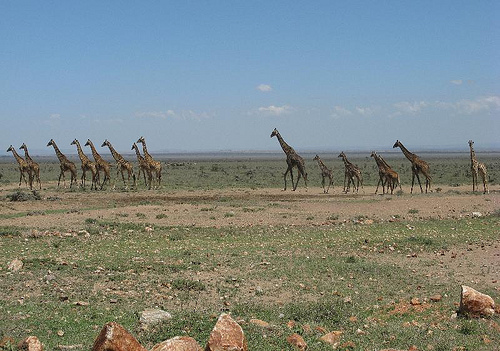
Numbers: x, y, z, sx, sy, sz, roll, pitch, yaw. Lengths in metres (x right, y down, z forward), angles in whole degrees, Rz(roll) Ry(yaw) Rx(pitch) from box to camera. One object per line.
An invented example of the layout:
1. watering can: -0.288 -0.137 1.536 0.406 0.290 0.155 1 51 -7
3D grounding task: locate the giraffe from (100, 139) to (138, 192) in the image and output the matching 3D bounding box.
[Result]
1. giraffe: -11.005 -0.312 47.517 2.386 5.493 2.430 0 12 28
